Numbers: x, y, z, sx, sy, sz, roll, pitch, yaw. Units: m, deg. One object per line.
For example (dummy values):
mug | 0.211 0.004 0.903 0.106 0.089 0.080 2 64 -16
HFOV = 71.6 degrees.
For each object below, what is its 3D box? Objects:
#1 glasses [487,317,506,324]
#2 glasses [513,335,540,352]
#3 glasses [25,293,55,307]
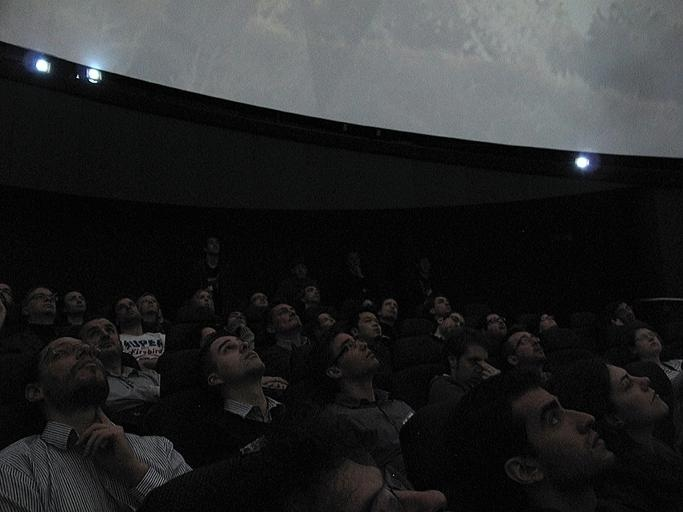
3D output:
glasses | 1.067 0.429 3.278 0.068 0.023 0.071 8 6 5
glasses | 1.255 0.567 3.191 0.116 0.072 0.128 7 -48 -3
glasses | -1.355 0.183 2.142 0.063 0.036 0.062 16 -55 -40
